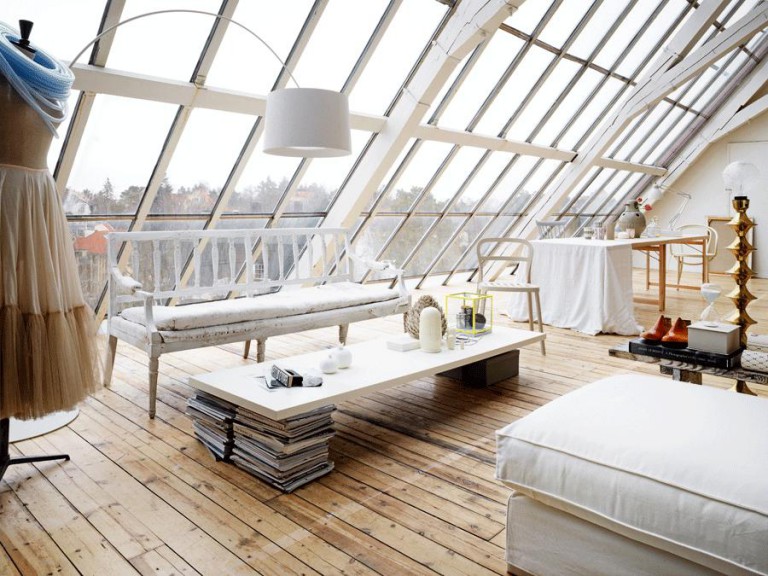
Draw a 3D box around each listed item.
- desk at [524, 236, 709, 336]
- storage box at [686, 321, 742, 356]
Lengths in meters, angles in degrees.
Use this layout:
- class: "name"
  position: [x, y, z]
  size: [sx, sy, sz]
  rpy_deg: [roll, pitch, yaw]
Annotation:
- class: "desk"
  position: [2.002, -0.104, 5.009]
  size: [1.072, 0.582, 1.073]
  rpy_deg: [5, 10, 43]
- class: "storage box"
  position: [1.492, 0.228, 2.316]
  size: [0.183, 0.108, 0.184]
  rpy_deg: [1, 5, 39]
